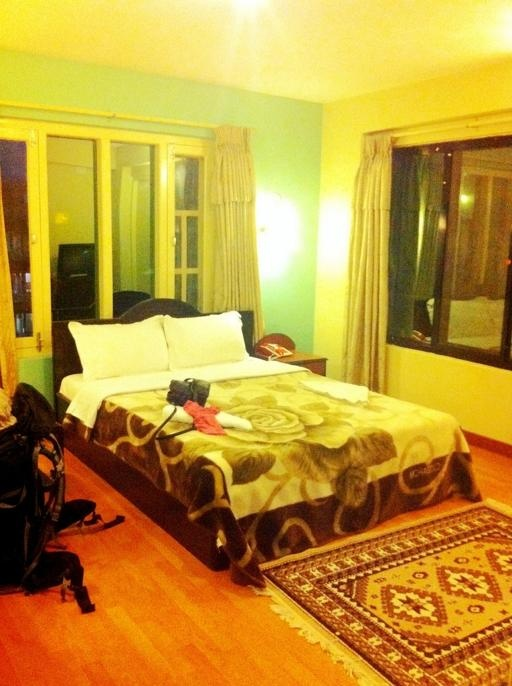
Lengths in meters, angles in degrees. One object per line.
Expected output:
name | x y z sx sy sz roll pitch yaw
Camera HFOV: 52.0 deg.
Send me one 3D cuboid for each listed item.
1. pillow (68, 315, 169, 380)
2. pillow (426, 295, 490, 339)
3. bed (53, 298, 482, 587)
pillow | -0.904 0.043 3.517 0.632 0.411 0.165 -7 2 -28
pillow | 1.543 -0.177 3.915 0.220 0.285 0.415 -3 7 -22
bed | -0.252 0.422 2.864 1.421 0.788 1.684 -6 11 -34
